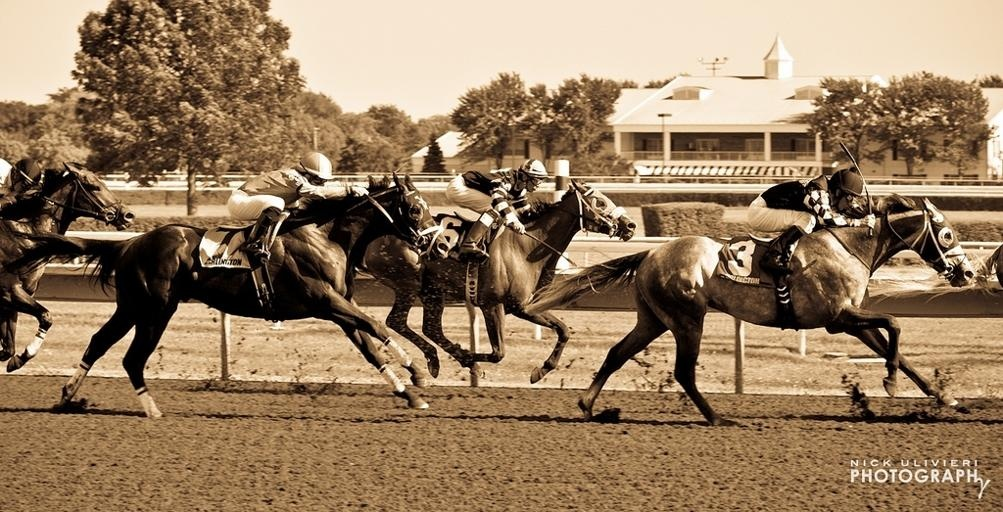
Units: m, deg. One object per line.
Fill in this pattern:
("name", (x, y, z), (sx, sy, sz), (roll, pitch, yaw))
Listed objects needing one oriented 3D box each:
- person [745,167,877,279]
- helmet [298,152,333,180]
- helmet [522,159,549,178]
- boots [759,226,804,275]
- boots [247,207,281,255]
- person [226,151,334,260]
("person", (4.394, -0.556, 20.728), (1.877, 1.229, 0.814), (7, 7, 34))
("helmet", (-2.649, -1.310, 20.962), (0.548, 0.227, 0.374), (23, 21, 21))
("helmet", (0.559, -1.276, 21.587), (0.431, 0.166, 0.296), (-4, 25, -21))
("boots", (3.848, -0.080, 20.529), (0.569, 0.666, 0.310), (20, -9, 8))
("boots", (-3.291, -0.341, 20.647), (0.604, 0.617, 0.226), (14, -9, 29))
("person", (-2.832, -0.777, 21.095), (2.124, 1.153, 1.090), (-3, 11, -6))
